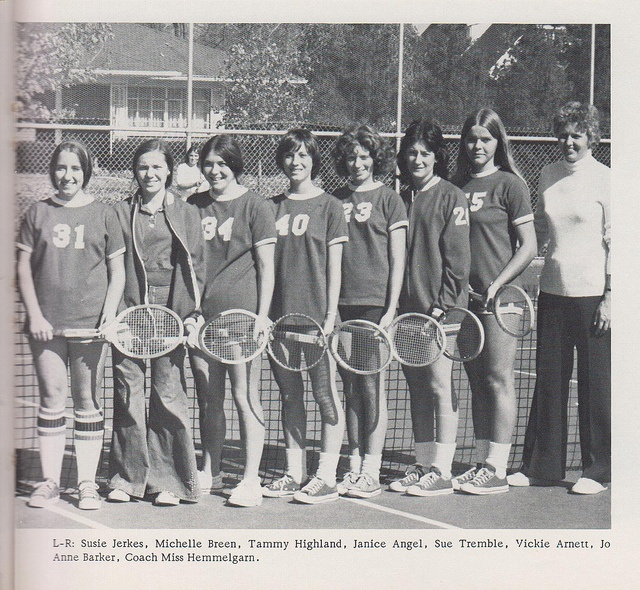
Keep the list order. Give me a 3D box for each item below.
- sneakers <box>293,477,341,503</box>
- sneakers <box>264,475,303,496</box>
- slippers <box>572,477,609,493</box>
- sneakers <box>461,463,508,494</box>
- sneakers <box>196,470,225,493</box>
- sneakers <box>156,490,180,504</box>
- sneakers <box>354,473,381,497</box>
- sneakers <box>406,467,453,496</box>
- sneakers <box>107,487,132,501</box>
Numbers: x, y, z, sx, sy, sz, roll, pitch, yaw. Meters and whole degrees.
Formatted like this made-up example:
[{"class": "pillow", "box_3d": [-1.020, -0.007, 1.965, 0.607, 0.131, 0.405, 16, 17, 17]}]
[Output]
[{"class": "sneakers", "box_3d": [-0.022, 1.279, 5.390, 0.302, 0.141, 0.125, 3, -5, -20]}, {"class": "sneakers", "box_3d": [-0.250, 1.256, 5.414, 0.271, 0.137, 0.107, 4, -1, -5]}, {"class": "slippers", "box_3d": [1.787, 1.263, 5.466, 0.185, 0.110, 0.067, -5, 1, 1]}, {"class": "sneakers", "box_3d": [1.097, 1.241, 5.522, 0.365, 0.182, 0.141, 3, -3, -8]}, {"class": "sneakers", "box_3d": [-0.730, 1.213, 5.305, 0.219, 0.102, 0.082, 6, -9, -15]}, {"class": "sneakers", "box_3d": [-0.994, 1.309, 5.336, 0.149, 0.076, 0.065, 0, -2, 6]}, {"class": "sneakers", "box_3d": [0.295, 1.247, 5.358, 0.187, 0.097, 0.097, 15, -12, -41]}, {"class": "sneakers", "box_3d": [0.731, 1.247, 5.480, 0.335, 0.169, 0.130, 3, -3, -8]}, {"class": "sneakers", "box_3d": [-1.310, 1.300, 5.370, 0.113, 0.081, 0.073, 1, 1, -3]}]
